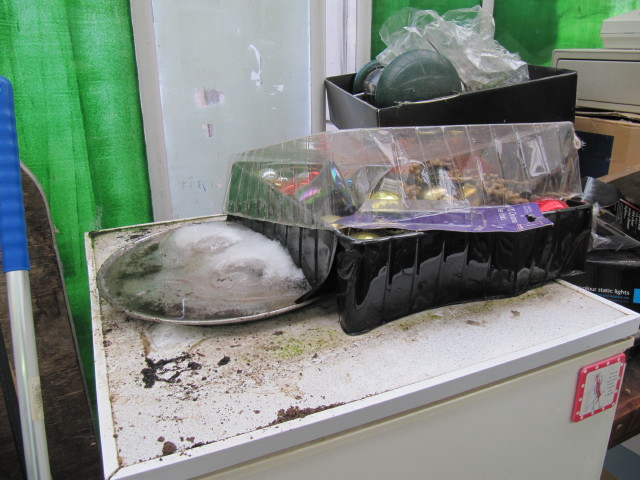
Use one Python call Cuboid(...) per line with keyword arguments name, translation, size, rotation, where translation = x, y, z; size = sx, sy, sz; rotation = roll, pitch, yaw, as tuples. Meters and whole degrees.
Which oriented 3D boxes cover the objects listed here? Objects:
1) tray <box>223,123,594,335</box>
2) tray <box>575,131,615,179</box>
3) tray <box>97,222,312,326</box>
Cuboid(name="tray", translation=(0.229, -0.133, 1.289), size=(0.826, 0.299, 0.564), rotation=(-8, 34, -30))
Cuboid(name="tray", translation=(0.888, -0.284, 1.756), size=(0.134, 0.165, 0.085), rotation=(-8, 21, -32))
Cuboid(name="tray", translation=(-0.255, 0.052, 1.228), size=(0.465, 0.061, 0.470), rotation=(21, 28, 28))
